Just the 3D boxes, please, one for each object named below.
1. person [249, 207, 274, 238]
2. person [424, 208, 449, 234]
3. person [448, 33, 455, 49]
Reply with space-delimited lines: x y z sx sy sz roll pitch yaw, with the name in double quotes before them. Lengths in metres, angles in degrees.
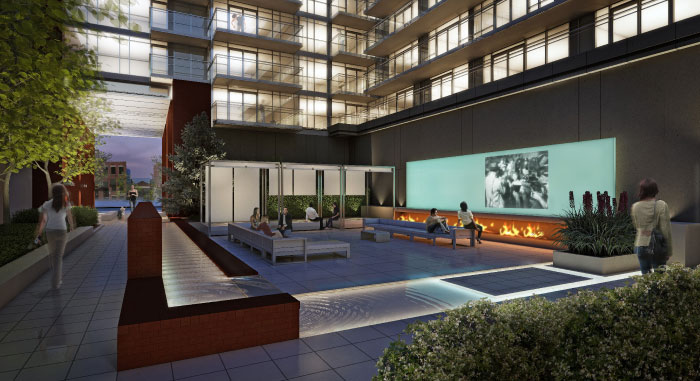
"person" -3.911 1.424 18.320 1.209 1.195 0.407 8 20 6
"person" 4.200 1.479 19.994 1.202 1.216 0.879 -1 -15 20
"person" 6.766 -9.860 27.290 0.215 0.871 0.423 -2 2 -30
